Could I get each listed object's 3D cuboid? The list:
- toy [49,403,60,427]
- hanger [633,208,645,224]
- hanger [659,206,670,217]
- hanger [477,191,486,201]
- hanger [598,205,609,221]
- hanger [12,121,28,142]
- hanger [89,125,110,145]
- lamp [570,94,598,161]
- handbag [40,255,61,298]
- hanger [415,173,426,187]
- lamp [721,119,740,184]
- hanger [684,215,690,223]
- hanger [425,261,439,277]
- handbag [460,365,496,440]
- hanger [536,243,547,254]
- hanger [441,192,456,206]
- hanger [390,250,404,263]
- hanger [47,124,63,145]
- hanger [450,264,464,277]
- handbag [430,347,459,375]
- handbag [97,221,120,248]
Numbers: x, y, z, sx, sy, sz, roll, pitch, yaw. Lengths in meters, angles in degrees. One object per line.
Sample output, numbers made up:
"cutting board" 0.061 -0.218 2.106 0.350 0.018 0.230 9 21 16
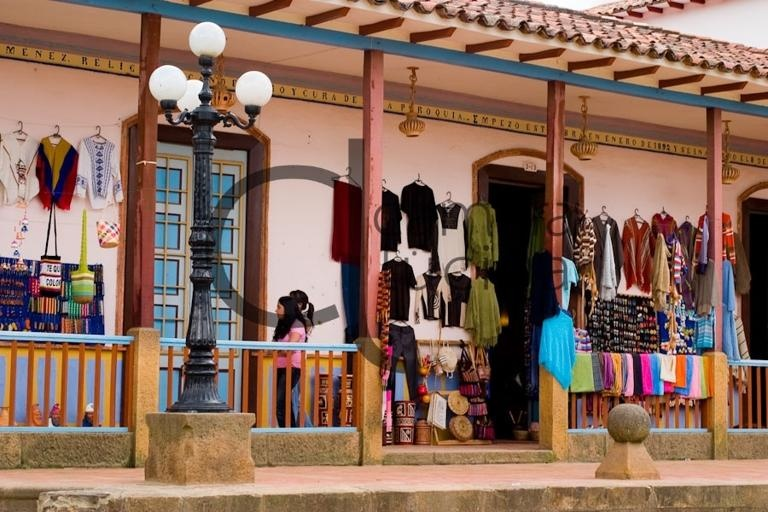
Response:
"toy" -4.389 2.118 23.689 0.137 0.312 0.851 2 -7 -10
"hanger" 3.964 -0.616 27.798 0.226 0.250 0.016 10 -25 -38
"hanger" 4.398 -0.687 27.986 0.162 0.181 0.007 14 -37 -28
"hanger" 1.471 -0.889 26.807 0.128 0.118 0.030 4 -5 -34
"hanger" 3.393 -0.658 27.557 0.127 0.248 0.118 0 -7 8
"hanger" -4.959 -1.685 24.184 0.285 0.193 0.029 -1 3 -17
"hanger" -3.946 -1.664 24.548 0.283 0.191 0.029 1 -2 -35
"lamp" 3.015 -1.886 26.966 0.395 0.843 1.272 0 -7 6
"handbag" -4.519 0.257 24.120 0.304 0.526 0.161 3 -7 -12
"hanger" 0.525 -1.117 26.430 0.204 0.220 0.022 -3 -6 -28
"lamp" 5.417 -1.559 27.861 0.254 0.970 1.355 0 -7 11
"hanger" 4.786 -0.592 28.163 0.109 0.101 0.036 5 -8 -30
"hanger" 0.733 0.204 26.377 0.194 0.194 0.075 3 1 -18
"handbag" 1.378 2.175 26.313 0.557 1.096 0.352 3 -7 -16
"hanger" 2.328 -0.108 26.324 0.111 0.263 0.062 -8 -47 23
"hanger" 0.940 -0.847 26.588 0.200 0.199 0.004 2 -6 -28
"hanger" 0.174 0.017 26.196 0.190 0.126 0.006 4 -9 -41
"hanger" -4.490 -1.663 24.358 0.170 0.260 0.041 2 -7 -9
"hanger" 1.092 0.227 26.559 0.139 0.181 0.066 2 -4 -12
"handbag" 0.892 1.531 26.245 0.330 0.138 0.430 -2 30 -7
"handbag" -3.778 -0.284 24.209 0.339 0.261 0.301 -4 -5 -13
